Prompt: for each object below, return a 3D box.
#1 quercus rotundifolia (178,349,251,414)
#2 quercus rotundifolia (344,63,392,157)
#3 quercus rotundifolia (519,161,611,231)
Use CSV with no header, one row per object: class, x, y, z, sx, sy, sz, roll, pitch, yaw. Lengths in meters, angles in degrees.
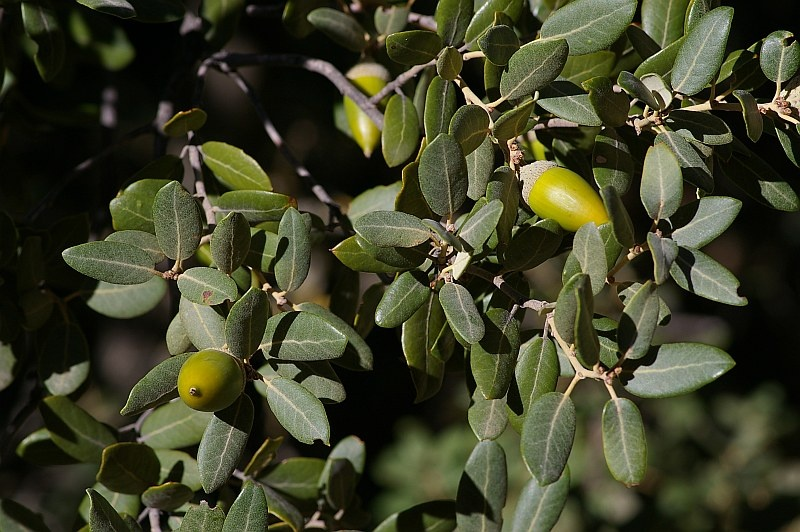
quercus rotundifolia,-0.431,0.267,1.998,0.152,0.207,0.176,-6,85,3
quercus rotundifolia,-0.088,-0.441,2.378,0.138,0.239,0.285,-5,45,0
quercus rotundifolia,0.384,-0.166,2.109,0.222,0.123,0.110,33,21,12
